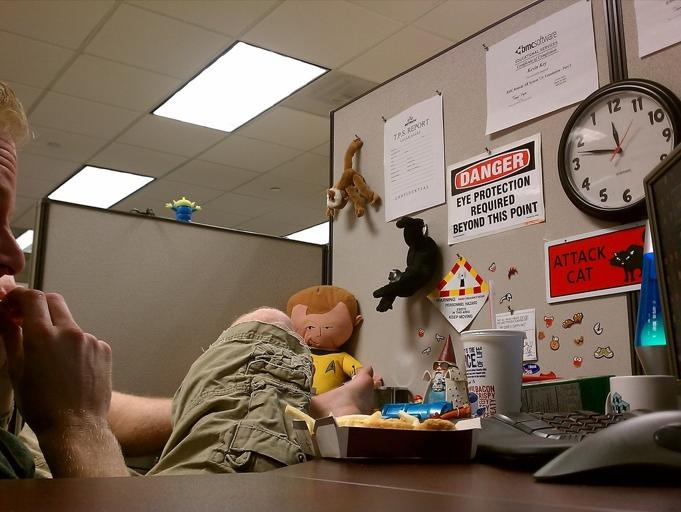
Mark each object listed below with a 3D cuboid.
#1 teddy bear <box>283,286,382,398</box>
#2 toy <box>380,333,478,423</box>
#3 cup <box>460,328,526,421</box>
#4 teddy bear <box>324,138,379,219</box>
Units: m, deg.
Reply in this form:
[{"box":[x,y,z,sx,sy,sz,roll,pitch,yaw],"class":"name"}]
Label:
[{"box":[-0.008,0.237,1.374,0.243,0.357,0.104,-8,-41,17],"class":"teddy bear"},{"box":[0.173,0.234,1.002,0.166,0.176,0.168,0,-16,13],"class":"toy"},{"box":[0.248,0.184,0.808,0.101,0.136,0.083,-1,-5,-1],"class":"cup"},{"box":[0.036,-0.244,1.659,0.156,0.268,0.146,-16,-19,20],"class":"teddy bear"}]
